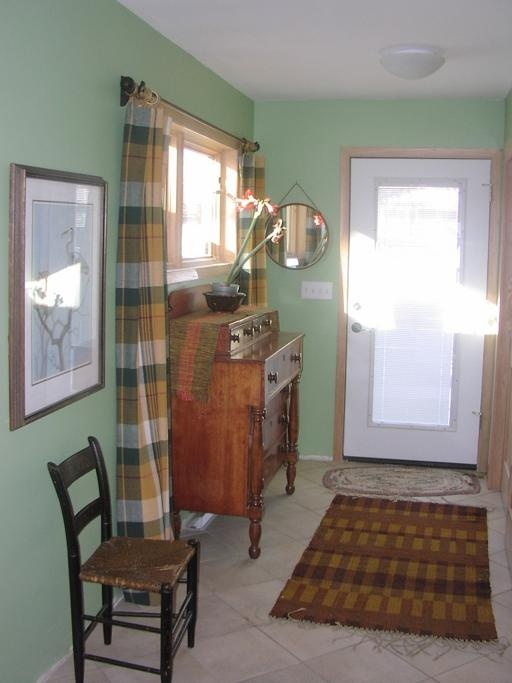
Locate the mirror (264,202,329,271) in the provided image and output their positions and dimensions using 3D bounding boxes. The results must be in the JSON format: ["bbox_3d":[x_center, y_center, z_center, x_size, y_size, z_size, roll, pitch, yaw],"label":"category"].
[{"bbox_3d":[0.308,-0.792,4.013,0.467,0.501,0.019,13,11,14],"label":"mirror"}]

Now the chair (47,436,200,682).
[{"bbox_3d":[-0.407,0.708,1.741,0.441,0.816,0.657,0,4,-7],"label":"chair"}]

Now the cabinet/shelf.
[{"bbox_3d":[-0.119,0.435,2.758,0.597,1.456,1.138,2,14,11],"label":"cabinet/shelf"}]

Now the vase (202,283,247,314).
[{"bbox_3d":[-0.171,-0.238,2.915,0.172,0.117,0.163,-1,13,-11],"label":"vase"}]

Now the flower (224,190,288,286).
[{"bbox_3d":[-0.005,-0.631,3.148,0.271,0.441,0.225,4,-18,17],"label":"flower"}]
